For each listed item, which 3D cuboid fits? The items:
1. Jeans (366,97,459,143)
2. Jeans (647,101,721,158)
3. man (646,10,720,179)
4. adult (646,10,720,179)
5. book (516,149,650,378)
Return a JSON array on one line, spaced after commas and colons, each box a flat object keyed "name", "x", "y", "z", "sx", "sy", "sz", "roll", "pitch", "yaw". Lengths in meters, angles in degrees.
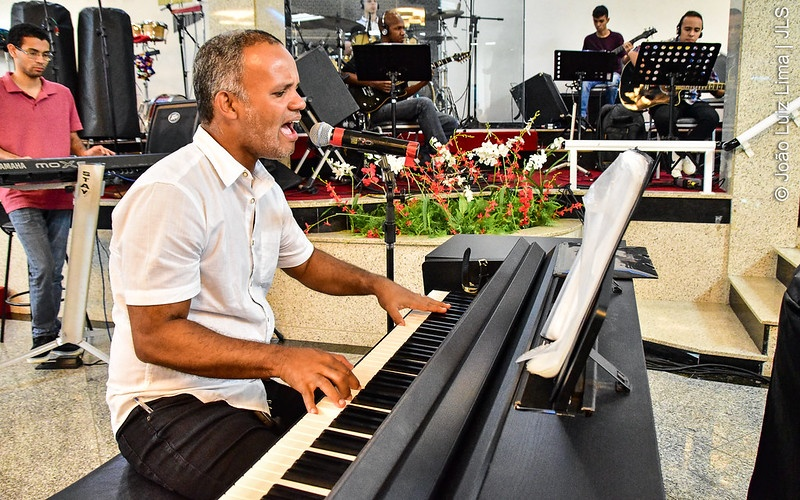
[{"name": "Jeans", "x": 0.137, "y": -1.576, "z": 6.625, "sx": 0.908, "sy": 0.480, "sz": 0.954, "roll": 15, "pitch": 18, "yaw": 4}, {"name": "Jeans", "x": 3.327, "y": -1.379, "z": 6.571, "sx": 0.601, "sy": 1.171, "sz": 0.716, "roll": 1, "pitch": 12, "yaw": 16}, {"name": "man", "x": 3.232, "y": -1.507, "z": 6.207, "sx": 0.847, "sy": 2.082, "sz": 0.278, "roll": 6, "pitch": 12, "yaw": 10}, {"name": "adult", "x": 3.271, "y": -1.575, "z": 6.437, "sx": 0.847, "sy": 2.082, "sz": 0.278, "roll": 6, "pitch": 12, "yaw": 10}, {"name": "book", "x": 0.598, "y": 0.060, "z": 1.830, "sx": 0.376, "sy": 0.765, "sz": 0.298, "roll": 3, "pitch": 12, "yaw": 14}]
